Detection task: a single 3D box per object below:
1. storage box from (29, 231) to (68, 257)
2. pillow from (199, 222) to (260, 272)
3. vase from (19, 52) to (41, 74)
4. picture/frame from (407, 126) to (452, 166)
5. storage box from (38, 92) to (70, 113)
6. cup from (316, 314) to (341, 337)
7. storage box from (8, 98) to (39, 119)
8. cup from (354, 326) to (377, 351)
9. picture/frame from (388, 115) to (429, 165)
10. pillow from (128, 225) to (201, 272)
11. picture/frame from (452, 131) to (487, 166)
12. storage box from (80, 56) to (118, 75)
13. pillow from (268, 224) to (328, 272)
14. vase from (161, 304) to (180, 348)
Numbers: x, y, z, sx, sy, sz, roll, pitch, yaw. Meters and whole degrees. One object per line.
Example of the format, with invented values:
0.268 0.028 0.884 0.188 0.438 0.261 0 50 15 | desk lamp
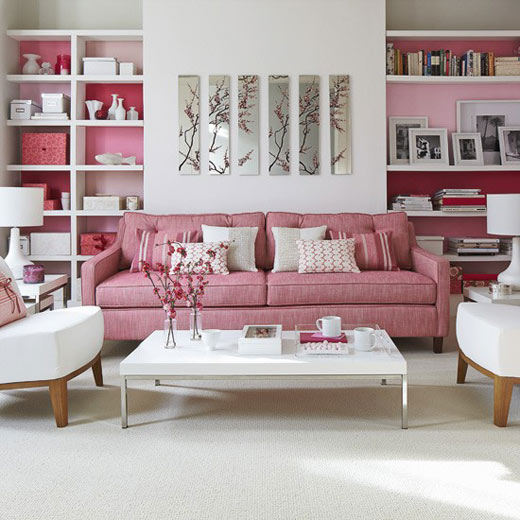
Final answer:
-1.926 -0.140 5.029 0.418 0.240 0.213 0 7 -3 | storage box
-0.225 -0.082 4.037 0.391 0.313 0.131 1 -13 1 | pillow
-2.140 -1.817 5.128 0.183 0.222 0.309 -4 8 -22 | vase
1.566 -1.048 5.101 0.436 0.395 0.039 2 -12 -2 | picture/frame
-1.864 -1.423 4.981 0.214 0.143 0.202 0 8 0 | storage box
0.343 0.334 2.781 0.130 0.083 0.091 -1 3 1 | cup
-2.168 -1.355 5.046 0.182 0.194 0.299 0 8 -3 | storage box
0.506 0.394 2.682 0.089 0.080 0.113 -1 4 -23 | cup
1.381 -1.104 5.132 0.533 0.629 0.030 2 -11 0 | picture/frame
-0.771 -0.105 4.169 0.431 0.341 0.120 0 -23 5 | pillow
1.950 -1.031 5.113 0.400 0.490 0.035 0 -17 -3 | picture/frame
-1.448 -1.750 4.955 0.207 0.115 0.197 -4 10 -25 | storage box
0.293 -0.079 4.110 0.379 0.309 0.133 -1 -22 6 | pillow
-0.431 0.335 2.795 0.068 0.217 0.065 2 -5 -24 | vase
